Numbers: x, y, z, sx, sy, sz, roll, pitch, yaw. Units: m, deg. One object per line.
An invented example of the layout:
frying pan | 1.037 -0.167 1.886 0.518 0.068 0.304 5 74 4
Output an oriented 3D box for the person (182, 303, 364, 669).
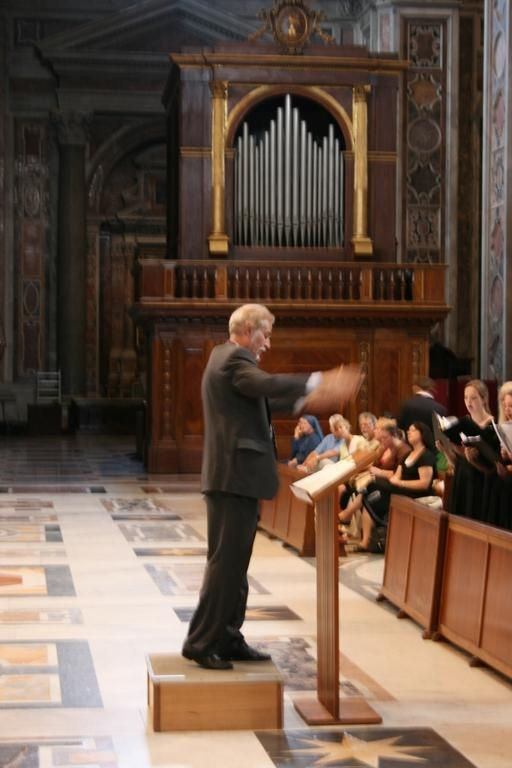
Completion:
person | 0.005 0.454 2.819 0.340 1.188 0.779 -4 7 -38
